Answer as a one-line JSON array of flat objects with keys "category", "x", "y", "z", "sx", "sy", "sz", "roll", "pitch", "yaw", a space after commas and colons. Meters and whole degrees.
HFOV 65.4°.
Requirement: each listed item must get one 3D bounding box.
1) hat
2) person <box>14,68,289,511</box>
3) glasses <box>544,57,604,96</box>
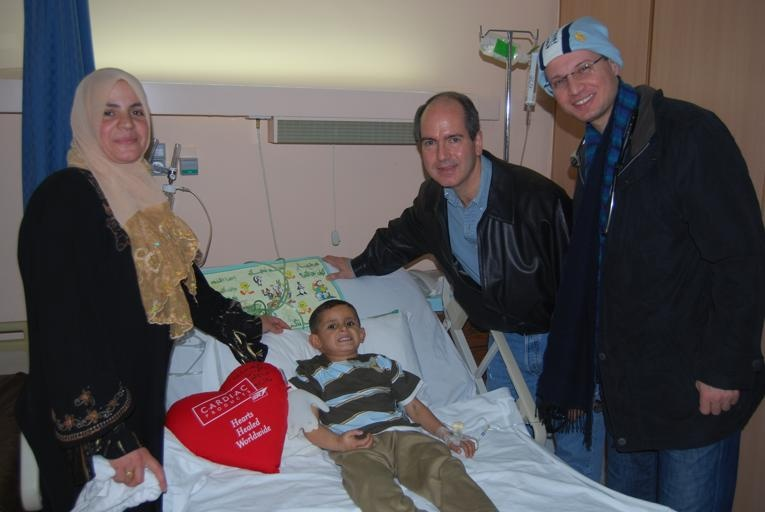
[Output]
[{"category": "hat", "x": 0.717, "y": -0.737, "z": 2.375, "sx": 0.366, "sy": 0.311, "sz": 0.264, "roll": -5, "pitch": -4, "yaw": -21}, {"category": "person", "x": -0.956, "y": 0.116, "z": 2.107, "sx": 0.434, "sy": 1.550, "sz": 0.561, "roll": 3, "pitch": 11, "yaw": 35}, {"category": "glasses", "x": 0.741, "y": -0.662, "z": 2.251, "sx": 0.129, "sy": 0.067, "sz": 0.167, "roll": -25, "pitch": 5, "yaw": 17}]
